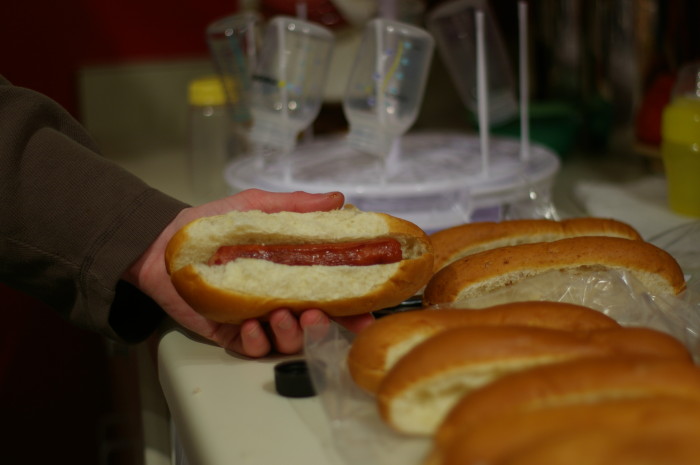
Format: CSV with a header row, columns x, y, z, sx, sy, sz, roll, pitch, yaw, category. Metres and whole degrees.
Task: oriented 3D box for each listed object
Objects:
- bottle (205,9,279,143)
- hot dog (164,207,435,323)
x,y,z,sx,sy,sz,roll,pitch,yaw,category
-0.187,-0.280,1.032,0.110,0.228,0.050,4,18,31,bottle
-0.063,0.034,0.616,0.230,0.086,0.122,-1,31,-3,hot dog
